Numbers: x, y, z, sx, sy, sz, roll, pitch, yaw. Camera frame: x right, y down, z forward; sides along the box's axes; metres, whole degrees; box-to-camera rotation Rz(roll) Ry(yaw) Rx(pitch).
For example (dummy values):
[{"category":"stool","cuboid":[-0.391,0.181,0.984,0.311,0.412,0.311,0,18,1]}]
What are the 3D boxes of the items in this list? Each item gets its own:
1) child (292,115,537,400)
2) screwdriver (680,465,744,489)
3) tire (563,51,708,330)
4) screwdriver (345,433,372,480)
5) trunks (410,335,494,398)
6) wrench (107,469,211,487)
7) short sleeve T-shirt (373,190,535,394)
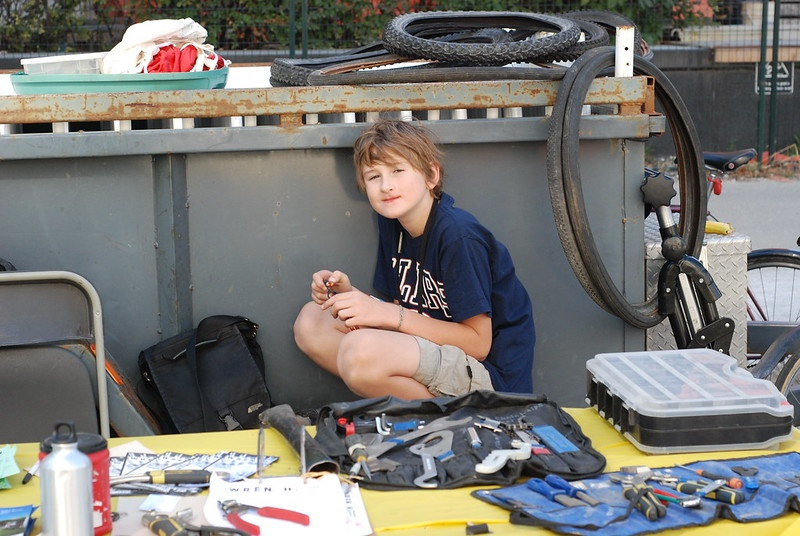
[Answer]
[{"category":"child","cuboid":[0.130,-0.037,4.819,1.038,1.423,0.535,-4,7,4]},{"category":"screwdriver","cuboid":[1.217,0.826,3.852,0.294,0.052,0.052,14,-9,39]},{"category":"tire","cuboid":[1.146,-0.419,4.842,1.169,1.325,0.220,-13,8,-41]},{"category":"screwdriver","cuboid":[-0.169,0.776,3.936,0.087,0.075,0.350,-16,18,-4]},{"category":"trunks","cuboid":[0.265,0.493,4.754,0.400,0.239,0.143,11,40,-6]},{"category":"wrench","cuboid":[-0.947,0.827,3.793,0.474,0.065,0.089,3,0,-5]},{"category":"short sleeve T-shirt","cuboid":[0.287,0.126,5.089,0.640,1.018,0.997,-3,9,-37]}]
